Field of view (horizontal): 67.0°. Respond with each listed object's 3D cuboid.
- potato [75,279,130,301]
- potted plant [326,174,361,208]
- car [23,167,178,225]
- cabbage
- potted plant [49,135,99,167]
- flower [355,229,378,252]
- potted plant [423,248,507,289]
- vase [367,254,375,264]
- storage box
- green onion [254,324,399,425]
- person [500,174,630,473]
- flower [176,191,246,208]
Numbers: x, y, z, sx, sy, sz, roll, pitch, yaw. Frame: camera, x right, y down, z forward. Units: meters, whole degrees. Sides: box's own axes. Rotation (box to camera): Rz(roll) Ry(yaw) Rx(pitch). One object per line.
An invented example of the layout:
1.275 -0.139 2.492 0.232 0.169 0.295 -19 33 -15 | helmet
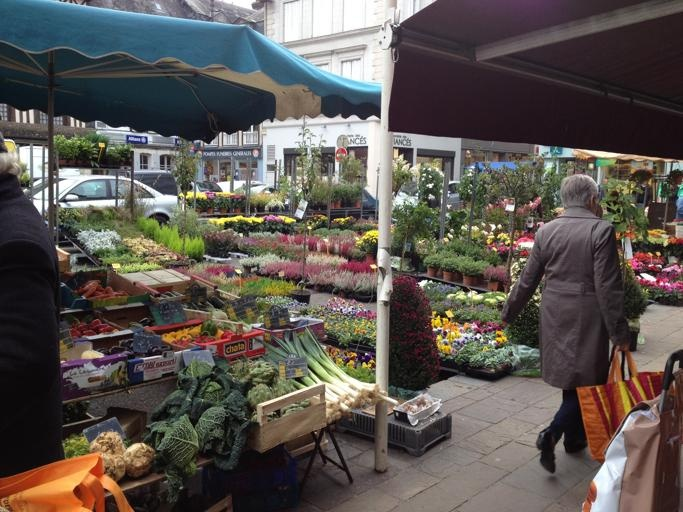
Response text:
-2.539 0.366 5.390 0.291 0.106 0.308 5 4 23 | potato
-0.059 -2.480 20.957 1.449 1.129 1.413 -6 12 -27 | potted plant
-5.654 -1.401 12.215 3.775 1.325 1.718 -8 14 -31 | car
-0.952 1.026 3.474 0.589 0.618 0.577 1 10 -21 | cabbage
-5.678 -2.260 11.162 0.873 0.656 0.694 0 10 -21 | potted plant
0.614 -0.365 12.506 0.485 0.511 0.540 -2 8 -15 | flower
2.512 0.274 10.493 1.202 0.809 0.812 13 14 41 | potted plant
0.691 0.055 12.327 0.193 0.154 0.194 -5 13 -29 | vase
-1.617 0.575 4.049 1.101 0.498 0.640 -6 16 -41 | storage box
-0.167 0.966 4.282 1.046 0.322 0.599 26 13 36 | green onion
1.934 0.405 4.426 1.073 2.418 0.834 0 1 -28 | person
-4.639 -2.049 18.725 1.518 0.438 1.129 -2 5 -39 | flower
